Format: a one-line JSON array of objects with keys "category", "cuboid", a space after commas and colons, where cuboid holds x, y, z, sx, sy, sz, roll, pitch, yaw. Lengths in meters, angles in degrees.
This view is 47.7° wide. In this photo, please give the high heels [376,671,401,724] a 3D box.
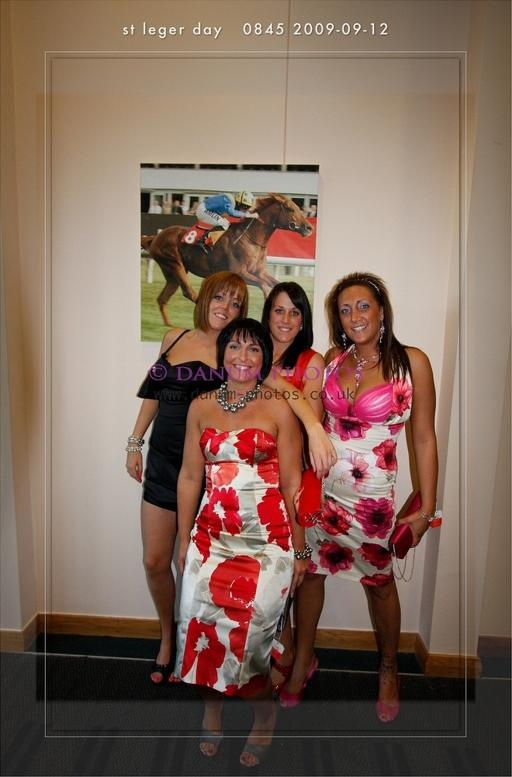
[{"category": "high heels", "cuboid": [0.412, 0.972, 1.804, 0.064, 0.169, 0.067, 13, 23, 24]}]

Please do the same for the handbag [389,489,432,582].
[{"category": "handbag", "cuboid": [0.464, 0.463, 1.822, 0.070, 0.246, 0.179, 4, -1, 18]}]

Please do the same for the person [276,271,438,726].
[{"category": "person", "cuboid": [0.321, 0.360, 1.818, 0.421, 1.428, 0.400, 4, 7, 15]}]

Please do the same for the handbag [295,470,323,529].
[{"category": "handbag", "cuboid": [0.154, 0.323, 1.680, 0.077, 0.153, 0.061, 10, -18, -12]}]

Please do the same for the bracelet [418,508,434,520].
[{"category": "bracelet", "cuboid": [0.533, 0.389, 1.798, 0.030, 0.025, 0.032, 10, -13, 0]}]

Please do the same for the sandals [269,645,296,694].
[{"category": "sandals", "cuboid": [0.084, 0.890, 1.850, 0.048, 0.163, 0.063, 11, 16, 16]}]

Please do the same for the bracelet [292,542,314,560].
[{"category": "bracelet", "cuboid": [0.141, 0.494, 1.729, 0.048, 0.049, 0.014, 9, 12, -25]}]

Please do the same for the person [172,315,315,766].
[{"category": "person", "cuboid": [-0.055, 0.481, 1.694, 0.401, 1.359, 0.245, 2, 10, 10]}]

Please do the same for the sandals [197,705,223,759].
[{"category": "sandals", "cuboid": [-0.137, 1.062, 1.795, 0.056, 0.130, 0.179, 0, -3, 2]}]
